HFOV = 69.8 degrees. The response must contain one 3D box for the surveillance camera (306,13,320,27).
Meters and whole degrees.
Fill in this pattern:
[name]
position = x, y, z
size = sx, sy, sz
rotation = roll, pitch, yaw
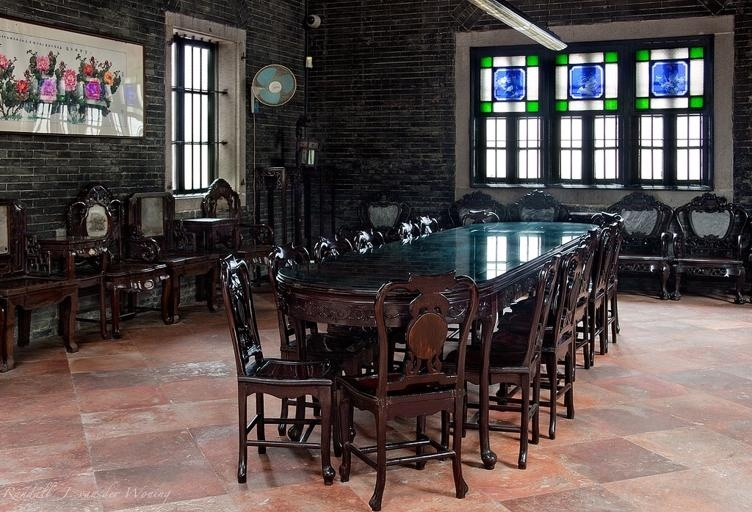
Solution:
[surveillance camera]
position = -1.079, -4.082, 9.342
size = 0.233, 0.230, 0.262
rotation = 1, 9, 11
